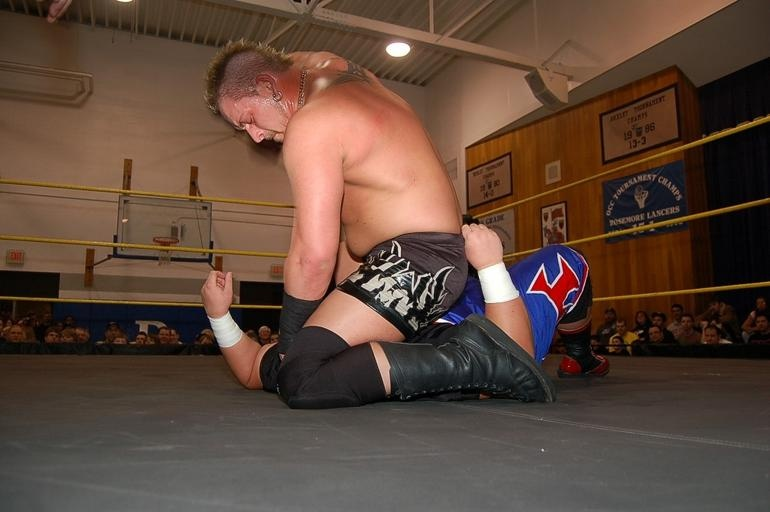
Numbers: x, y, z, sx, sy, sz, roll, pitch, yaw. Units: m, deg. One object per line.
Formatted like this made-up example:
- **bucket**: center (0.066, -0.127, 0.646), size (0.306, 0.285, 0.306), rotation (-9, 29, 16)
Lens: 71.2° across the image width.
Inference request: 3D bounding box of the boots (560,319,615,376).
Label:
- **boots**: center (0.800, 0.362, 2.198), size (0.309, 0.288, 0.135), rotation (6, -7, -36)

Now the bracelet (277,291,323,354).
- **bracelet**: center (-0.250, 0.201, 1.615), size (0.116, 0.190, 0.151), rotation (30, -1, -12)

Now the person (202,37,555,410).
- **person**: center (-0.091, -0.214, 2.086), size (1.155, 1.195, 1.232), rotation (-3, 3, 5)

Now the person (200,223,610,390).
- **person**: center (0.223, 0.176, 1.808), size (0.985, 0.384, 0.769), rotation (1, -7, -27)

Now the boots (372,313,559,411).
- **boots**: center (0.219, 0.295, 1.602), size (0.594, 0.228, 0.198), rotation (2, 14, -13)
